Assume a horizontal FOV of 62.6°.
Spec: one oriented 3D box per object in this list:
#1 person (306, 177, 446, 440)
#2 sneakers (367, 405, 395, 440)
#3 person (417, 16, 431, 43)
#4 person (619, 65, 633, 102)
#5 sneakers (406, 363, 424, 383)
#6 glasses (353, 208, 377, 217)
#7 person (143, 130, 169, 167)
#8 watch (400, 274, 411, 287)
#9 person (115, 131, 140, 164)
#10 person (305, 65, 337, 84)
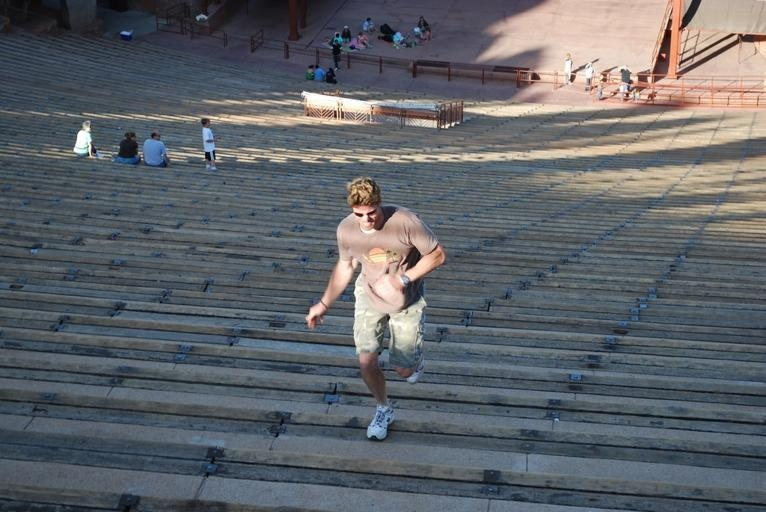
[{"bbox_3d":[0.014,0.352,4.596,0.706,1.878,0.902,-10,27,-37],"label":"person"},{"bbox_3d":[-0.013,1.201,4.563,0.157,0.117,0.317,9,22,15],"label":"sneakers"},{"bbox_3d":[1.848,-10.088,28.020,0.685,1.093,1.425,7,17,0],"label":"person"},{"bbox_3d":[9.116,-6.416,23.544,0.536,1.156,1.342,14,19,16],"label":"person"},{"bbox_3d":[0.259,0.941,4.949,0.092,0.091,0.214,20,47,19],"label":"sneakers"},{"bbox_3d":[-0.119,-0.292,4.268,0.113,0.025,0.093,1,-3,9],"label":"glasses"},{"bbox_3d":[-4.402,-2.044,12.120,0.461,0.689,0.435,0,21,-17],"label":"person"},{"bbox_3d":[0.150,0.173,4.403,0.058,0.078,0.086,23,25,39],"label":"watch"},{"bbox_3d":[-4.978,-2.082,12.167,0.455,0.606,0.528,-1,20,-18],"label":"person"},{"bbox_3d":[-2.335,-6.798,23.698,1.128,0.622,0.604,13,20,27],"label":"person"}]
